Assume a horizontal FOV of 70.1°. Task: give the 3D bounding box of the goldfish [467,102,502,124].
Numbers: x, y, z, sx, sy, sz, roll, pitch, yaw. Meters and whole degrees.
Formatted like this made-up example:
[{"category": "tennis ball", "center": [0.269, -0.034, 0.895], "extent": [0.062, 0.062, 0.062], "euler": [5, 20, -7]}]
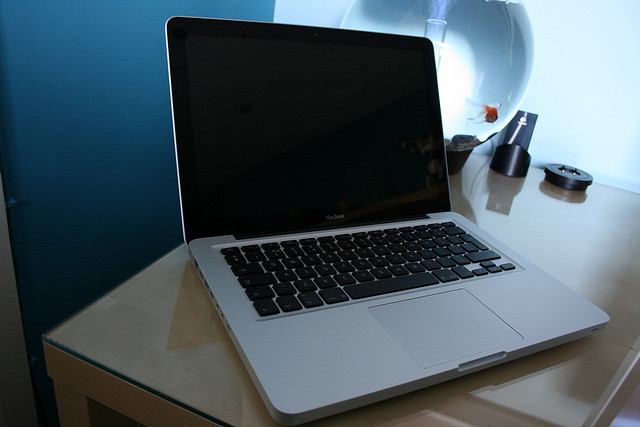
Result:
[{"category": "goldfish", "center": [0.358, -0.215, 0.992], "extent": [0.074, 0.038, 0.032], "euler": [-1, 40, -3]}]
